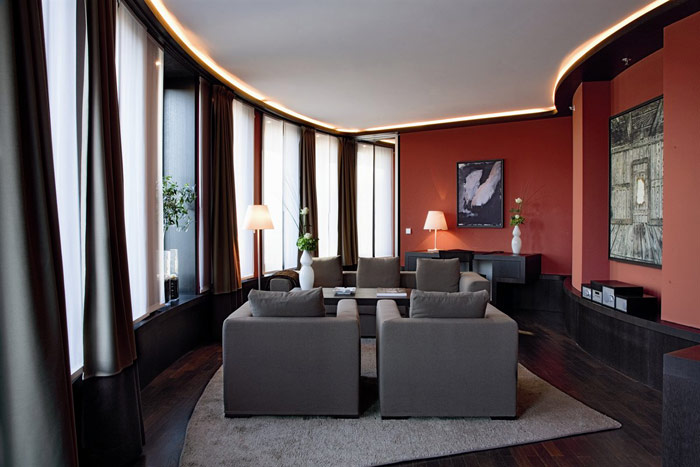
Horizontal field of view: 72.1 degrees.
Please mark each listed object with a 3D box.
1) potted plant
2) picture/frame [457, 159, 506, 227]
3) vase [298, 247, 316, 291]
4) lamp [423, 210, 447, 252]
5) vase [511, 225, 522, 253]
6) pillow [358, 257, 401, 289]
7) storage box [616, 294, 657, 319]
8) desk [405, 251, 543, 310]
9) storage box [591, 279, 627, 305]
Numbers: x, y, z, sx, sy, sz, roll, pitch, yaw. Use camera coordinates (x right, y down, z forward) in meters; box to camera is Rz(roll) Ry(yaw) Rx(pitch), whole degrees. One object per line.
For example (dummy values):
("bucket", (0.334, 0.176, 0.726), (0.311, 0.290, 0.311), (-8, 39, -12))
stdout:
("potted plant", (-2.025, 0.023, 5.756), (0.396, 1.435, 0.690), (-3, 9, -19))
("picture/frame", (2.323, -0.722, 8.323), (1.068, 1.605, 0.075), (-1, -2, 27))
("vase", (-0.537, 0.436, 5.960), (0.165, 0.462, 0.590), (-1, 9, -6))
("lamp", (1.539, -0.070, 8.586), (0.430, 0.712, 0.461), (1, 9, 11))
("vase", (2.745, 0.080, 7.841), (0.149, 0.474, 0.559), (3, 10, 20))
("pillow", (0.388, 0.542, 6.665), (0.646, 0.666, 0.366), (1, -9, -1))
("storage box", (3.042, 0.717, 5.019), (0.239, 0.167, 0.260), (0, 3, 6))
("desk", (2.144, 0.706, 8.177), (1.875, 1.001, 0.757), (0, 9, 35))
("storage box", (2.957, 0.568, 5.485), (0.203, 0.198, 0.420), (0, 0, 6))
